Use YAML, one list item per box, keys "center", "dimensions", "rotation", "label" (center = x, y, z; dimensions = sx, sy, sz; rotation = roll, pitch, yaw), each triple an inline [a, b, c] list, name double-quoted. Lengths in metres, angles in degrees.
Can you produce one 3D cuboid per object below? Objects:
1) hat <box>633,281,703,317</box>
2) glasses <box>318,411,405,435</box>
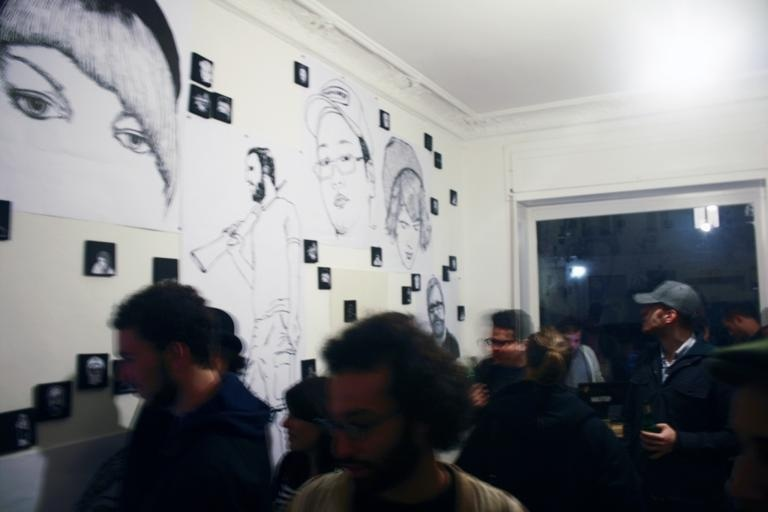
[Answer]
- center: [2.044, 0.299, 4.470]
  dimensions: [0.384, 0.191, 0.251]
  rotation: [18, 3, 26]
  label: "hat"
- center: [-0.074, 0.644, 2.395]
  dimensions: [0.213, 0.060, 0.228]
  rotation: [-9, -10, 41]
  label: "glasses"
